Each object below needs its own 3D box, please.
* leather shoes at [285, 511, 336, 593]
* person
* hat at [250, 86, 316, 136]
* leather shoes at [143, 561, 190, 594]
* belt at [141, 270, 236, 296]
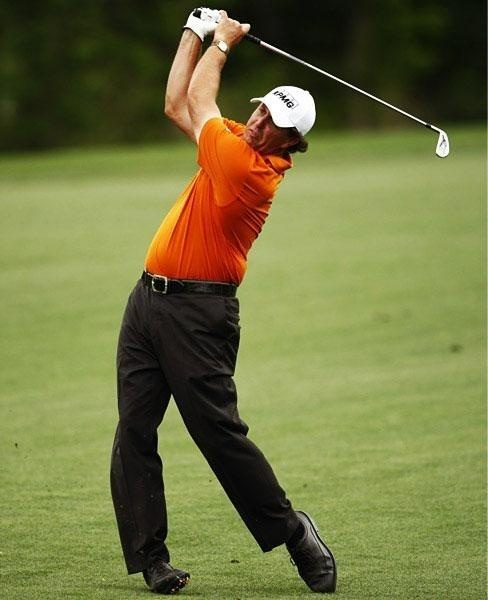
[{"bbox_3d":[0.225,0.808,2.517,0.184,0.195,0.276,9,13,6],"label":"leather shoes"},{"bbox_3d":[-0.098,-0.010,2.544,0.720,1.888,0.791,-2,14,-10],"label":"person"},{"bbox_3d":[0.136,-0.615,2.513,0.187,0.171,0.162,-8,19,-30],"label":"hat"},{"bbox_3d":[-0.240,0.869,2.409,0.116,0.081,0.122,-4,13,-22],"label":"leather shoes"},{"bbox_3d":[-0.195,-0.046,2.514,0.325,0.077,0.167,1,11,5],"label":"belt"}]
